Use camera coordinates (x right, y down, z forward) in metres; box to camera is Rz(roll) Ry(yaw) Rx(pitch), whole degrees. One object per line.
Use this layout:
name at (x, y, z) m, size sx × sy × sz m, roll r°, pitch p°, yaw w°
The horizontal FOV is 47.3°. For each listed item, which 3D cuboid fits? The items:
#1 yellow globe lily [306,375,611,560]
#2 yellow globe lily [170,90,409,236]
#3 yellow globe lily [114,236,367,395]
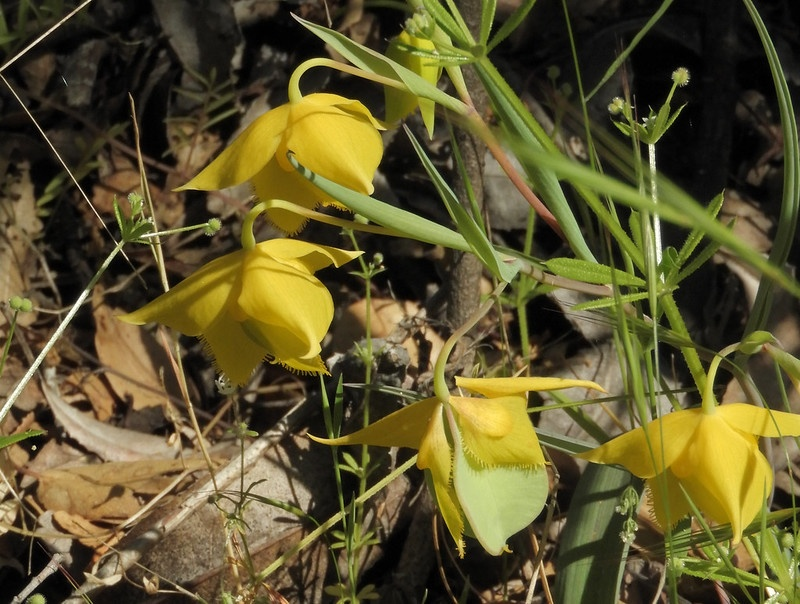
yellow globe lily at (0.129, 0.315, 2.025) m, size 0.434 × 0.224 × 0.281 m, roll 31°, pitch 49°, yaw 21°
yellow globe lily at (-0.232, -0.330, 2.133) m, size 0.329 × 0.336 × 0.243 m, roll -23°, pitch 56°, yaw 23°
yellow globe lily at (-0.357, 0.015, 2.102) m, size 0.333 × 0.409 × 0.304 m, roll 5°, pitch 58°, yaw -6°
